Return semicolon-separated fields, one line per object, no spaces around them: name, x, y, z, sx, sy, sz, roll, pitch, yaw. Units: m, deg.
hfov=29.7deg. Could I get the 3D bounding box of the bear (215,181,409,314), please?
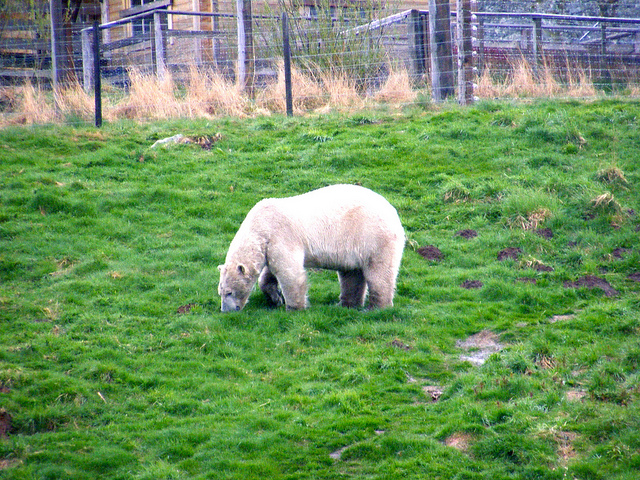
bear;-0.070;0.187;21.845;3.184;2.267;0.727;-4;5;-3
